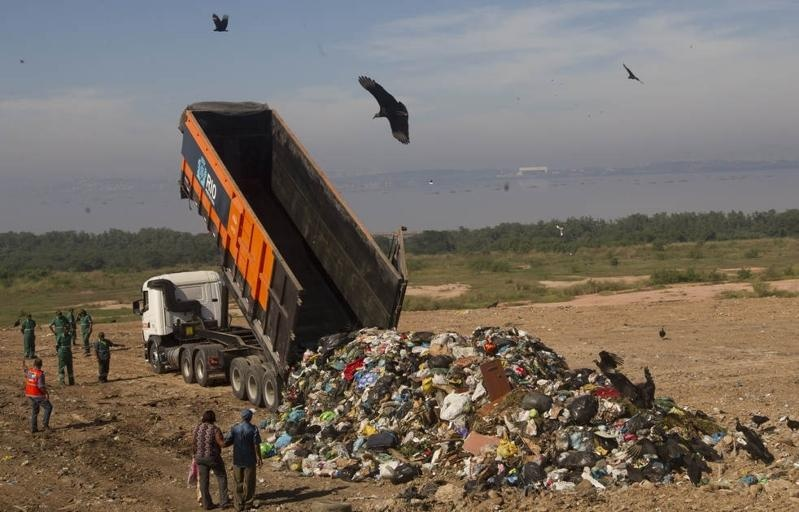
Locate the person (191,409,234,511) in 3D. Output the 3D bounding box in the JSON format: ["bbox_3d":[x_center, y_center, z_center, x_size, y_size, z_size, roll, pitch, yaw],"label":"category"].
[{"bbox_3d":[-4.179,4.479,20.576,0.716,2.205,0.549,-5,0,-13],"label":"person"}]

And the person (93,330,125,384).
[{"bbox_3d":[-8.800,3.114,28.325,1.318,1.502,0.491,1,14,3],"label":"person"}]

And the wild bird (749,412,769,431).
[{"bbox_3d":[8.473,3.886,22.031,0.217,0.425,0.661,-19,-12,34],"label":"wild bird"}]

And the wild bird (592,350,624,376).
[{"bbox_3d":[5.137,2.673,23.158,0.586,0.721,0.881,-9,15,19],"label":"wild bird"}]

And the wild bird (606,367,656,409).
[{"bbox_3d":[5.310,2.989,21.488,0.933,0.428,0.988,-43,37,0],"label":"wild bird"}]

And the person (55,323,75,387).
[{"bbox_3d":[-9.521,2.805,26.642,0.460,1.751,1.338,-5,0,-19],"label":"person"}]

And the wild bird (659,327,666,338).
[{"bbox_3d":[8.276,2.422,29.520,0.194,0.238,0.370,-4,-14,4],"label":"wild bird"}]
